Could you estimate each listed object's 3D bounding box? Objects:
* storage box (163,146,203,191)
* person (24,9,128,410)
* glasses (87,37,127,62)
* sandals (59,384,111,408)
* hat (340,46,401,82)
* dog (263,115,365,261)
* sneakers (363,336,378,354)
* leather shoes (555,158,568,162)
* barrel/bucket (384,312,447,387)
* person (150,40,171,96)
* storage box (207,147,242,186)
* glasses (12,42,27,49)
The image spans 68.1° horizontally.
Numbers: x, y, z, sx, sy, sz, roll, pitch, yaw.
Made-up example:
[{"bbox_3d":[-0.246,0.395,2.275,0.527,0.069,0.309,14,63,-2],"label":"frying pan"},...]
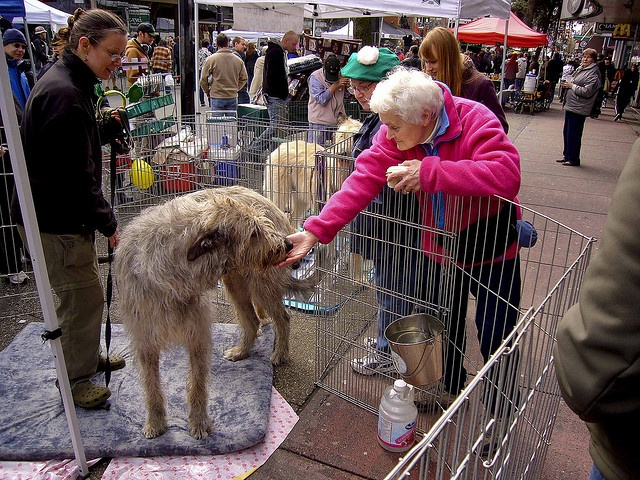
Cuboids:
[{"bbox_3d":[-1.494,-0.700,5.144,0.342,0.369,0.252,-17,9,-33],"label":"storage box"},{"bbox_3d":[-1.692,-0.169,3.311,0.515,2.663,0.782,5,21,4],"label":"person"},{"bbox_3d":[-1.439,-1.283,3.156,0.192,0.078,0.193,13,28,23],"label":"glasses"},{"bbox_3d":[-1.703,1.097,3.441,0.302,0.149,0.130,10,32,-5],"label":"sandals"},{"bbox_3d":[0.397,-1.484,3.947,0.475,0.234,0.479,-25,39,-23],"label":"hat"},{"bbox_3d":[-0.073,-0.590,4.750,1.124,0.762,0.335,-10,10,17],"label":"dog"},{"bbox_3d":[0.386,0.826,3.721,0.115,0.157,0.155,0,-8,-3],"label":"sneakers"},{"bbox_3d":[5.146,-1.714,10.146,0.092,0.122,0.267,-7,15,-38],"label":"leather shoes"},{"bbox_3d":[0.650,0.684,3.065,0.433,0.383,0.419,-20,24,9],"label":"barrel/bucket"},{"bbox_3d":[-3.868,-4.147,11.421,0.423,1.401,0.405,8,9,-4],"label":"person"},{"bbox_3d":[-1.083,-0.815,5.335,0.301,0.553,0.523,1,20,0],"label":"storage box"},{"bbox_3d":[-3.755,-2.451,5.930,0.095,0.055,0.139,-1,13,-6],"label":"glasses"}]
